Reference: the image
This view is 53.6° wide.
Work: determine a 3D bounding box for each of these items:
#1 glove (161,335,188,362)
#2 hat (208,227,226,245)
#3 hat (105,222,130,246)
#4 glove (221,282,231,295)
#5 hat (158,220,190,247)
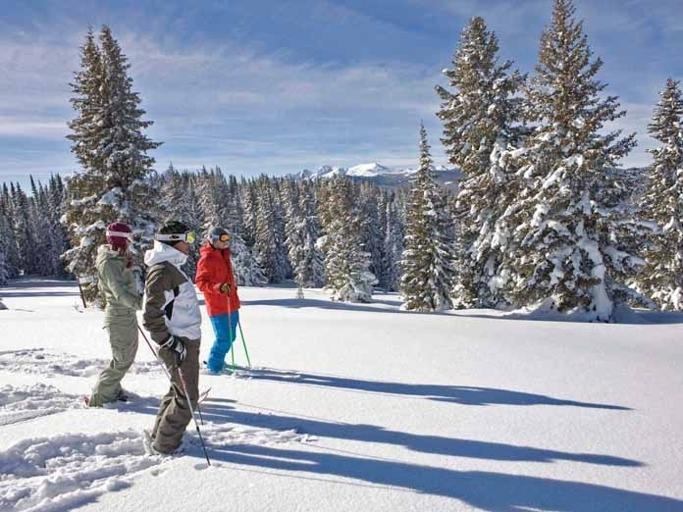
[{"bbox_3d":[-3.565,1.993,14.536,0.336,0.800,0.291,-9,38,28],"label":"glove"},{"bbox_3d":[-3.158,-0.504,17.178,0.443,0.379,0.355,-8,6,-6],"label":"hat"},{"bbox_3d":[-5.164,-0.523,15.740,0.429,0.600,0.584,18,22,30],"label":"hat"},{"bbox_3d":[-2.919,0.836,17.037,0.230,0.284,0.541,-2,5,-3],"label":"glove"},{"bbox_3d":[-3.679,-0.492,14.807,0.615,0.520,0.480,-13,11,-8],"label":"hat"}]
